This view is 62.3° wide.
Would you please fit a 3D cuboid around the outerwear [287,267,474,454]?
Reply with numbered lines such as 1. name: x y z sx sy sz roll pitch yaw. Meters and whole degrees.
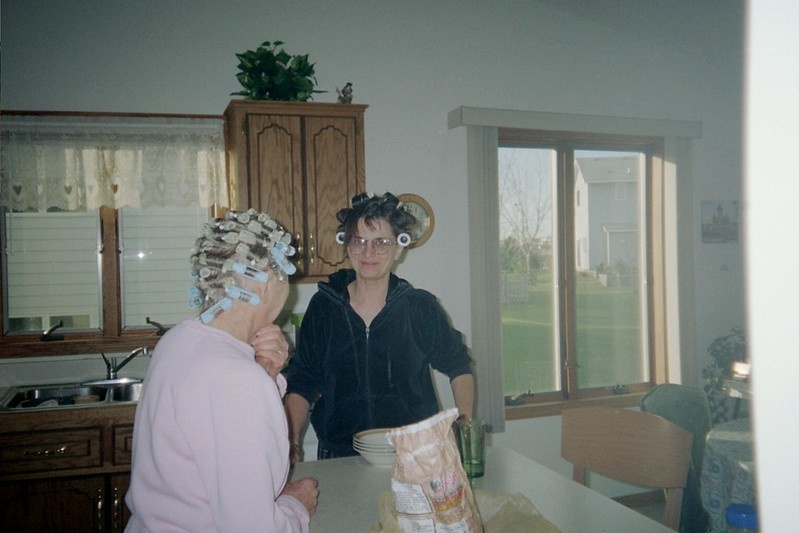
1. outerwear: -0.145 0.482 3.290 1.230 1.103 0.534 -1 -2 -6

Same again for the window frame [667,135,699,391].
1. window frame: 2.210 -0.070 5.160 0.257 1.990 0.177 0 3 11

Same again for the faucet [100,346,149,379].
1. faucet: -1.798 0.638 4.323 0.310 0.199 0.210 -4 -1 -20

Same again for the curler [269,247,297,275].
1. curler: -0.461 -0.018 2.587 0.072 0.118 0.031 -40 11 -24

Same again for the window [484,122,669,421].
1. window: 1.281 0.077 4.966 2.201 2.735 0.214 -1 4 -15

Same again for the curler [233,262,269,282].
1. curler: -0.572 0.023 2.508 0.131 0.042 0.030 20 -20 -20

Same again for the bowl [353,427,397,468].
1. bowl: -0.107 0.799 2.895 0.245 0.109 0.244 -1 -4 0
